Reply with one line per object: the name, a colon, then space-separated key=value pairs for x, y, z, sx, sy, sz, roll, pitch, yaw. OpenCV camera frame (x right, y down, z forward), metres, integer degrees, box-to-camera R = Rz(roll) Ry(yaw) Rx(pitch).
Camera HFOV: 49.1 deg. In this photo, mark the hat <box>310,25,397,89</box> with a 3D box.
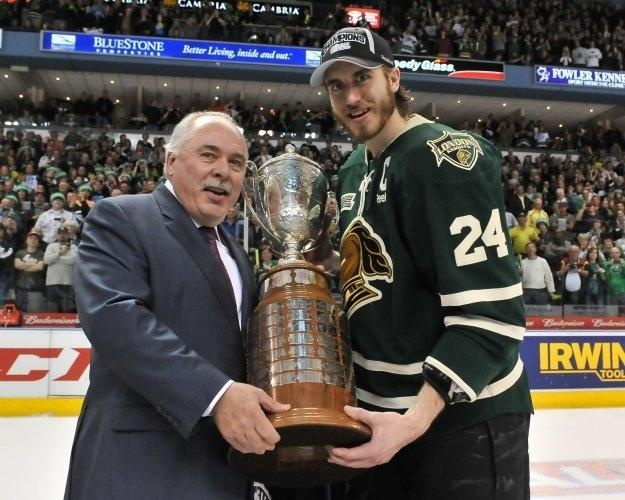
hat: x=0.227 y=-1.146 z=3.959 sx=0.393 sy=0.293 sz=0.530 roll=-4 pitch=6 yaw=17
